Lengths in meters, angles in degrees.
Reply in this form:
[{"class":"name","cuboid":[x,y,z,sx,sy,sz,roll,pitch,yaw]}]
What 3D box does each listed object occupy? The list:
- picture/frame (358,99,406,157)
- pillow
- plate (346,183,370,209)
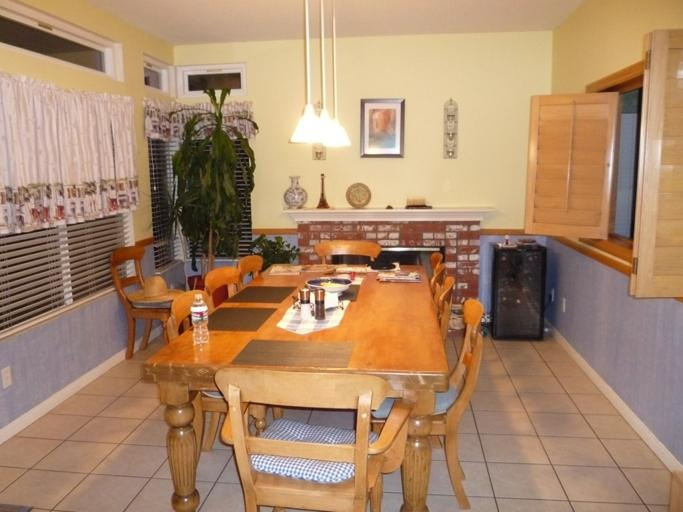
[{"class":"picture/frame","cuboid":[0.476,-1.514,5.845,0.654,0.806,0.039,0,7,0]},{"class":"pillow","cuboid":[-0.187,0.993,2.520,0.338,0.076,0.373,0,4,9]},{"class":"plate","cuboid":[0.195,-0.723,5.941,0.307,0.296,0.129,-1,11,0]}]
